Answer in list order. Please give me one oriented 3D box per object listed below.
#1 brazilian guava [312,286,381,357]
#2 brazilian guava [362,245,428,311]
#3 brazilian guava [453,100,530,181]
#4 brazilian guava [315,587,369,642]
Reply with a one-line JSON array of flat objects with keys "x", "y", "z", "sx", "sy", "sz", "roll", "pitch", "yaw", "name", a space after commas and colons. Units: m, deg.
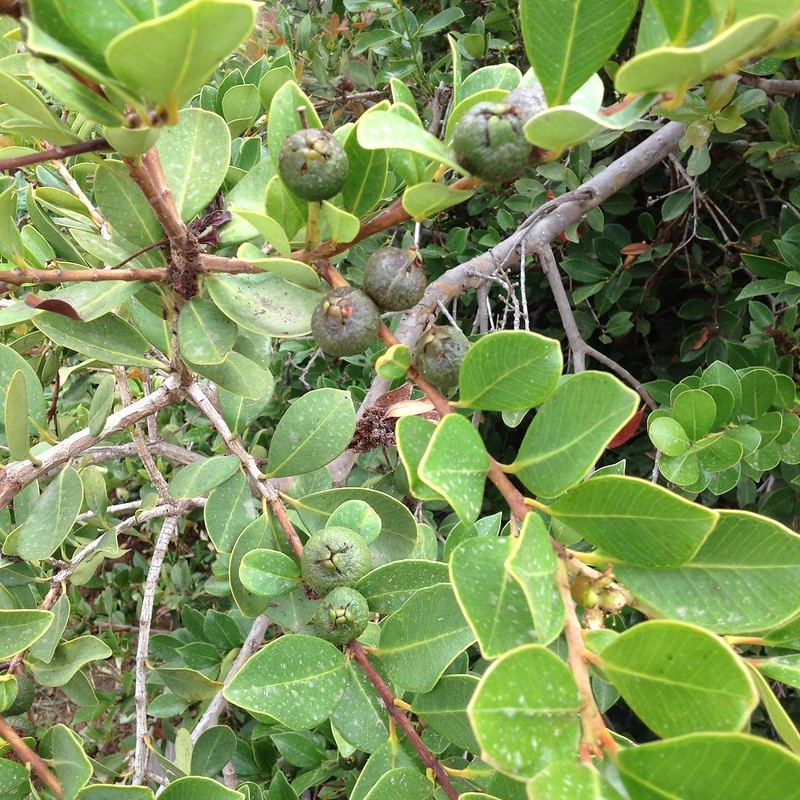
[{"x": -0.081, "y": -0.122, "z": 1.343, "sx": 0.126, "sy": 0.068, "sz": 0.102, "roll": 4, "pitch": 76, "yaw": 8, "name": "brazilian guava"}, {"x": -0.005, "y": -0.197, "z": 1.344, "sx": 0.092, "sy": 0.104, "sz": 0.098, "roll": 12, "pitch": 60, "yaw": 18, "name": "brazilian guava"}, {"x": 0.129, "y": -0.362, "z": 1.153, "sx": 0.107, "sy": 0.103, "sz": 0.096, "roll": -17, "pitch": 55, "yaw": -1, "name": "brazilian guava"}, {"x": -0.097, "y": 0.370, "z": 1.451, "sx": 0.097, "sy": 0.089, "sz": 0.058, "roll": 16, "pitch": 17, "yaw": 5, "name": "brazilian guava"}]
